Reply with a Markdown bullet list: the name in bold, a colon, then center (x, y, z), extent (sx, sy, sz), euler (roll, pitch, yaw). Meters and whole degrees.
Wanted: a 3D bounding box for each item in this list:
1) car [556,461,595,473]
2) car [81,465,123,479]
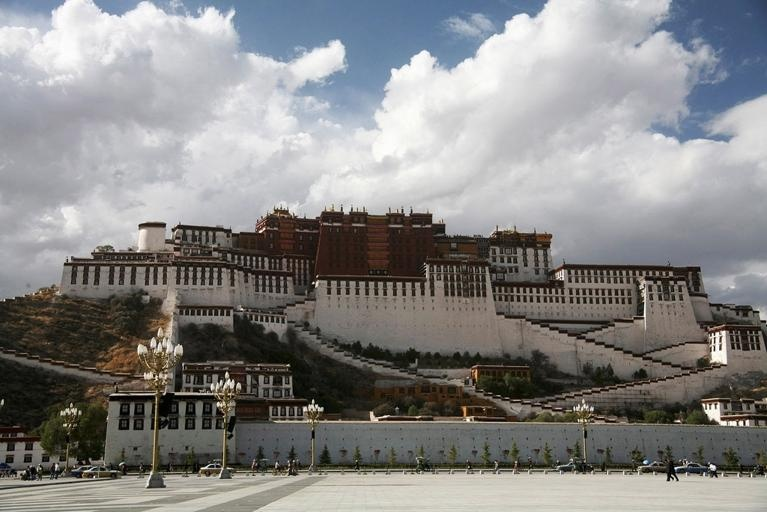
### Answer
- **car**: center (19.316, 21.384, 63.241), extent (3.218, 1.146, 4.142), euler (-11, -17, 21)
- **car**: center (-25.800, 19.776, 56.767), extent (3.108, 1.036, 1.417), euler (1, -7, -5)
